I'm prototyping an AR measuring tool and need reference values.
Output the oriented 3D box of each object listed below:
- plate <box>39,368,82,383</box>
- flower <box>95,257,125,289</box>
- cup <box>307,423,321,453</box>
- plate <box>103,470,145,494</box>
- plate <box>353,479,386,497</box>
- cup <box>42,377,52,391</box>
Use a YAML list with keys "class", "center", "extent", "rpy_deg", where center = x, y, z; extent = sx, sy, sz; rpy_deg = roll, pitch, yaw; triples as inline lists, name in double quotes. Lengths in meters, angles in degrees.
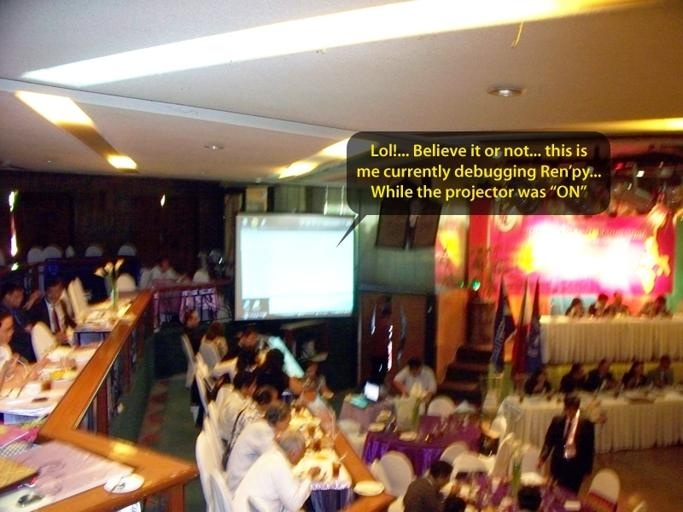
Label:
- class: "plate"
  center: [-3.286, 1.359, 6.145]
  extent: [0.594, 0.079, 0.379]
  rpy_deg: [-2, 1, 10]
- class: "flower"
  center: [-4.733, 0.341, 10.802]
  extent: [0.427, 0.623, 0.333]
  rpy_deg: [-24, 25, -12]
- class: "cup"
  center: [-0.284, 1.939, 5.718]
  extent: [0.142, 0.117, 0.441]
  rpy_deg: [-23, 9, -7]
- class: "plate"
  center: [-1.648, 1.724, 4.055]
  extent: [0.272, 0.067, 0.185]
  rpy_deg: [-3, 2, -45]
- class: "plate"
  center: [0.250, 2.107, 4.874]
  extent: [0.275, 0.063, 0.241]
  rpy_deg: [-2, 1, 2]
- class: "cup"
  center: [-3.290, 1.429, 5.964]
  extent: [0.143, 0.147, 0.079]
  rpy_deg: [10, -22, -34]
